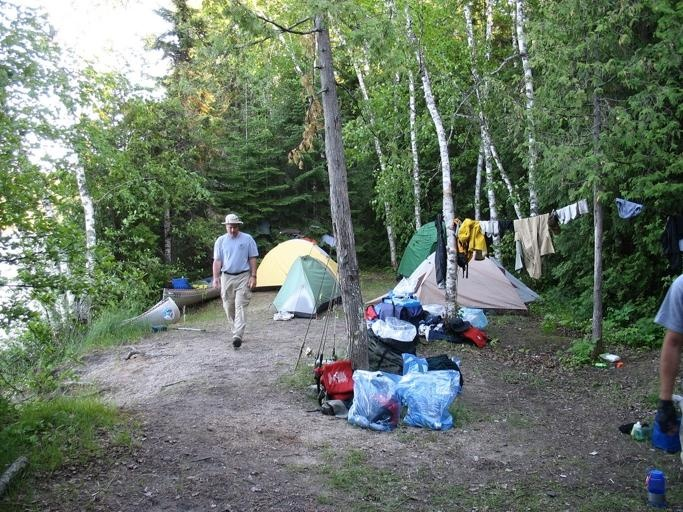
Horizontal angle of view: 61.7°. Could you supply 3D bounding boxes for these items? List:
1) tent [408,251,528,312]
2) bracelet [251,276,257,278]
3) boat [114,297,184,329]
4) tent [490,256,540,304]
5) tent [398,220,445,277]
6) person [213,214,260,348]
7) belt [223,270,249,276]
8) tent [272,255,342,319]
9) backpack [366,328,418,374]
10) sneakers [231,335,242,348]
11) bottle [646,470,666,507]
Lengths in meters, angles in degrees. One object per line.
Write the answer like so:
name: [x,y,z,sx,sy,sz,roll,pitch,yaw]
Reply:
tent: [3.131,0.800,14.327,1.777,0.890,1.862,-2,5,-9]
bracelet: [-1.638,0.407,10.833,0.055,0.065,0.060,-5,-2,-9]
boat: [-4.138,1.354,12.565,1.267,0.440,0.394,-18,23,-36]
tent: [4.696,0.746,15.064,1.371,0.548,1.096,10,23,23]
tent: [2.472,-0.123,18.037,1.402,1.410,1.481,7,18,27]
person: [-1.960,0.475,10.921,0.790,1.694,0.458,-5,3,-11]
belt: [-2.005,0.321,10.884,0.404,0.109,0.075,-6,3,-9]
tent: [-0.836,0.816,14.669,1.271,1.116,1.706,0,12,8]
backpack: [0.833,1.733,10.127,0.616,0.479,0.564,12,-9,-13]
sneakers: [-1.971,1.637,10.839,0.148,0.228,0.219,2,3,0]
bottle: [3.772,2.761,6.863,0.208,0.426,0.303,-3,3,28]
